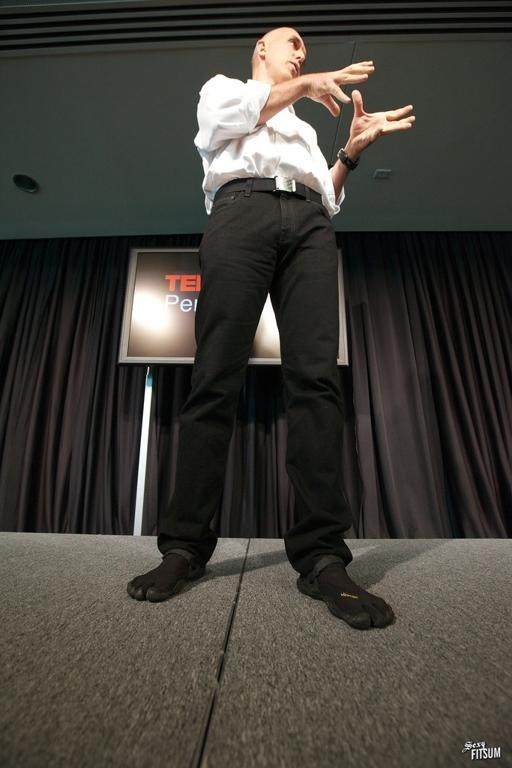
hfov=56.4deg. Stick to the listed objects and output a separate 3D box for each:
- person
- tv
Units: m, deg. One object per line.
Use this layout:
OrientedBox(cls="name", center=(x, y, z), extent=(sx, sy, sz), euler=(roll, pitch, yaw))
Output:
OrientedBox(cls="person", center=(0.021, -0.164, 0.810), extent=(0.361, 0.941, 0.424), euler=(-2, -8, 15))
OrientedBox(cls="tv", center=(-0.127, -0.219, 1.432), extent=(0.583, 0.433, 0.026), euler=(-1, -22, 3))
